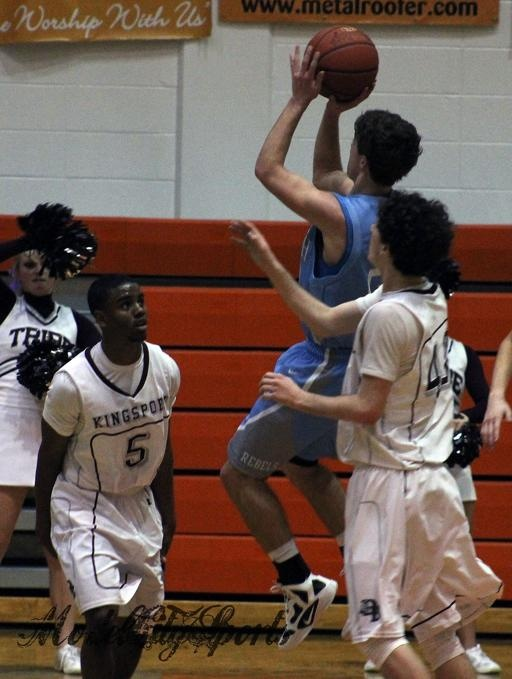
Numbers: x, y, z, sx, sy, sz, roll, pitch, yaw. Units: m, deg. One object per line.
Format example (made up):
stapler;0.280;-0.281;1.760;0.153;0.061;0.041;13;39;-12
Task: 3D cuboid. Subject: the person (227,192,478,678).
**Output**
person;0.293;0.256;3.095;0.670;1.304;0.385;5;7;39

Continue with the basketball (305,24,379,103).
basketball;0.264;-0.837;3.486;0.245;0.257;0.248;6;19;14
